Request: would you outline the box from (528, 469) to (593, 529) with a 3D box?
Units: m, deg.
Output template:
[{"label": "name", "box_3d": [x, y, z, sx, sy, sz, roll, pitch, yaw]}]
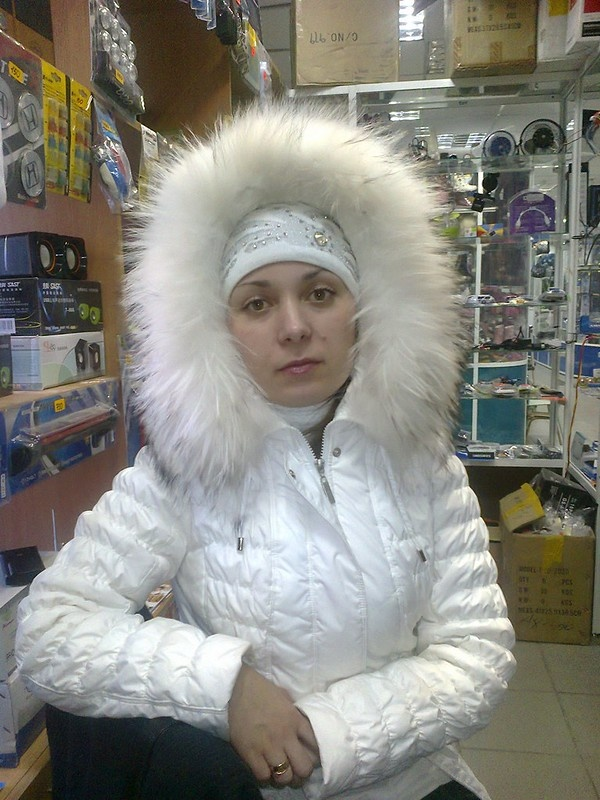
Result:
[{"label": "box", "box_3d": [1.092, 0.409, 2.651, 0.283, 0.151, 0.272, 16, -8, 44]}]

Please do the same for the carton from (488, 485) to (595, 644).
[{"label": "carton", "box_3d": [0.870, 0.615, 2.619, 0.417, 0.533, 0.758, 2, 16, 10]}]
